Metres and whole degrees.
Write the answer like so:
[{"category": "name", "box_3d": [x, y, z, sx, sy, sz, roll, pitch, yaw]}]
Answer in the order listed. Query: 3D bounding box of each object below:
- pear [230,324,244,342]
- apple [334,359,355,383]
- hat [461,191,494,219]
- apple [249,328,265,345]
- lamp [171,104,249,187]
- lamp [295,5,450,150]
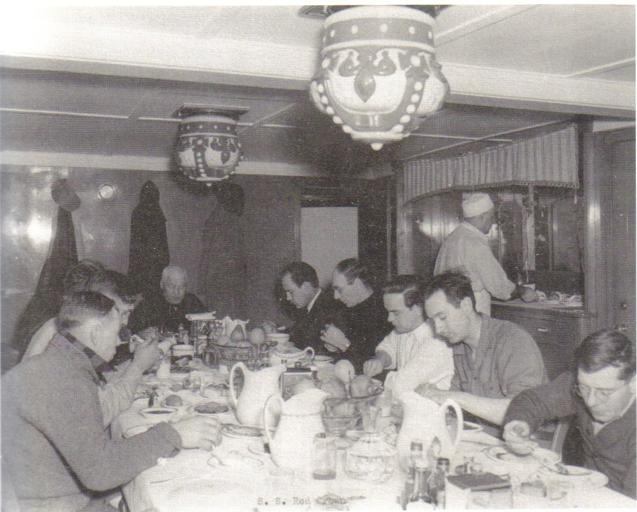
[{"category": "pear", "box_3d": [-0.350, 0.335, 2.869, 0.054, 0.062, 0.034, 1, -15, -17]}, {"category": "apple", "box_3d": [0.081, 0.363, 2.072, 0.055, 0.053, 0.070, -2, 12, -9]}, {"category": "hat", "box_3d": [0.853, -0.276, 3.551, 0.180, 0.093, 0.170, -6, 24, 16]}, {"category": "apple", "box_3d": [-0.253, 0.336, 2.736, 0.069, 0.063, 0.040, 2, -1, -6]}, {"category": "lamp", "box_3d": [-0.525, -0.558, 3.147, 0.304, 0.412, 0.338, 2, -2, -8]}, {"category": "lamp", "box_3d": [0.164, -0.464, 1.962, 0.451, 0.430, 0.403, -1, 3, 3]}]
